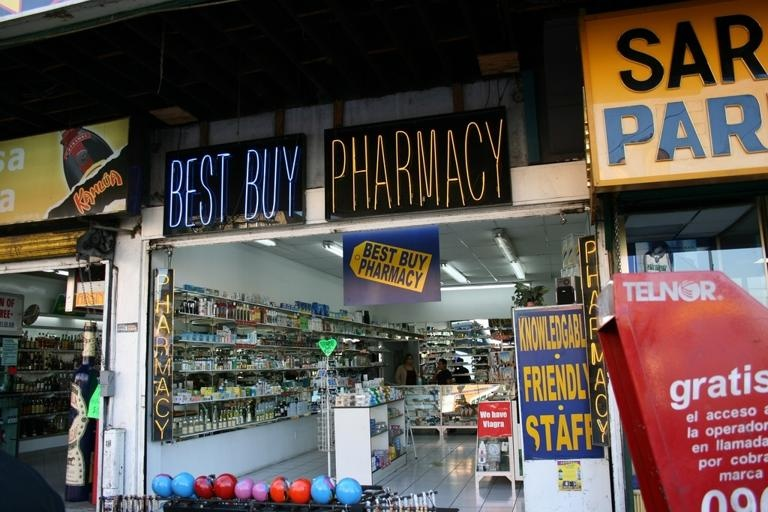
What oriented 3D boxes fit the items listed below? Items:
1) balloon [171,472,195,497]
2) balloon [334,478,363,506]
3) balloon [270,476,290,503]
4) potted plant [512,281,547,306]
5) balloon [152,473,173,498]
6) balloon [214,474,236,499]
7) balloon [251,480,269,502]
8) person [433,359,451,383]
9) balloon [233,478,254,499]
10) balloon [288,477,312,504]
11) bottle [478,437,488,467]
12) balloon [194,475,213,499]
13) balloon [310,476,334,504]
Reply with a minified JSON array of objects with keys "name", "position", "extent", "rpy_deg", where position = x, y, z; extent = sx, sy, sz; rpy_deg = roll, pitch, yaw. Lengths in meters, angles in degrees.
[{"name":"balloon","position":[-2.129,2.417,6.781],"extent":[0.292,0.229,0.154],"rpy_deg":[-10,-16,29]},{"name":"balloon","position":[-0.325,2.307,6.335],"extent":[0.219,0.223,0.251],"rpy_deg":[1,-13,-38]},{"name":"balloon","position":[-1.057,2.388,6.584],"extent":[0.204,0.254,0.209],"rpy_deg":[-1,-10,27]},{"name":"potted plant","position":[2.433,0.649,10.889],"extent":[0.729,0.398,0.724],"rpy_deg":[5,-2,-39]},{"name":"balloon","position":[-2.365,2.449,6.847],"extent":[0.189,0.217,0.308],"rpy_deg":[4,-15,-25]},{"name":"balloon","position":[-1.674,2.371,6.704],"extent":[0.218,0.261,0.221],"rpy_deg":[-1,0,-20]},{"name":"balloon","position":[-1.247,2.389,6.549],"extent":[0.161,0.189,0.165],"rpy_deg":[-23,-44,12]},{"name":"person","position":[1.395,2.700,15.075],"extent":[0.359,0.620,0.843],"rpy_deg":[-4,-14,5]},{"name":"balloon","position":[-1.431,2.369,6.560],"extent":[0.175,0.218,0.177],"rpy_deg":[0,-8,-4]},{"name":"balloon","position":[-0.847,2.337,6.485],"extent":[0.218,0.262,0.223],"rpy_deg":[2,-4,12]},{"name":"bottle","position":[1.438,2.902,9.432],"extent":[0.142,0.377,0.074],"rpy_deg":[5,-16,-29]},{"name":"balloon","position":[-1.867,2.405,6.740],"extent":[0.196,0.245,0.200],"rpy_deg":[-5,-5,12]},{"name":"balloon","position":[-0.606,2.297,6.349],"extent":[0.223,0.264,0.225],"rpy_deg":[8,-35,-10]}]
